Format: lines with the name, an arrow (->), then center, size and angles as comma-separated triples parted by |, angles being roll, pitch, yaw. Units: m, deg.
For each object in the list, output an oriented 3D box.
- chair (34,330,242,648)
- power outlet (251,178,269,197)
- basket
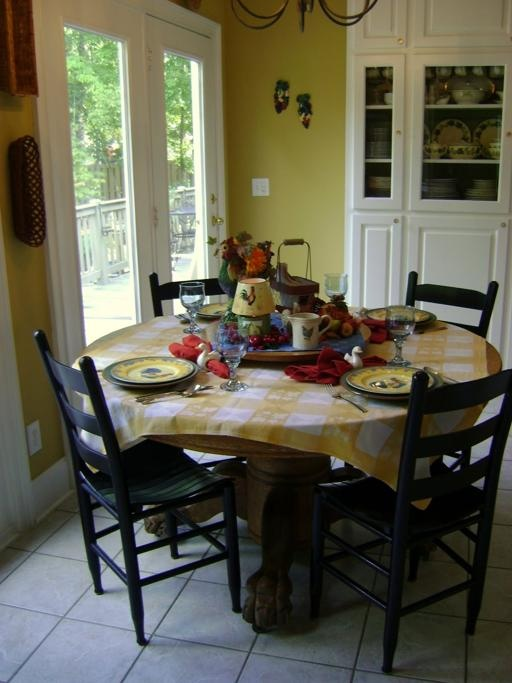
chair -> -0.304, 0.424, 1.492 | 0.430, 0.892, 0.467 | -17, 28, -28
power outlet -> 0.024, -1.047, 3.731 | 0.132, 0.127, 0.013 | 1, 17, 14
basket -> 0.101, -0.210, 1.746 | 0.145, 0.209, 0.143 | -9, 25, -37
